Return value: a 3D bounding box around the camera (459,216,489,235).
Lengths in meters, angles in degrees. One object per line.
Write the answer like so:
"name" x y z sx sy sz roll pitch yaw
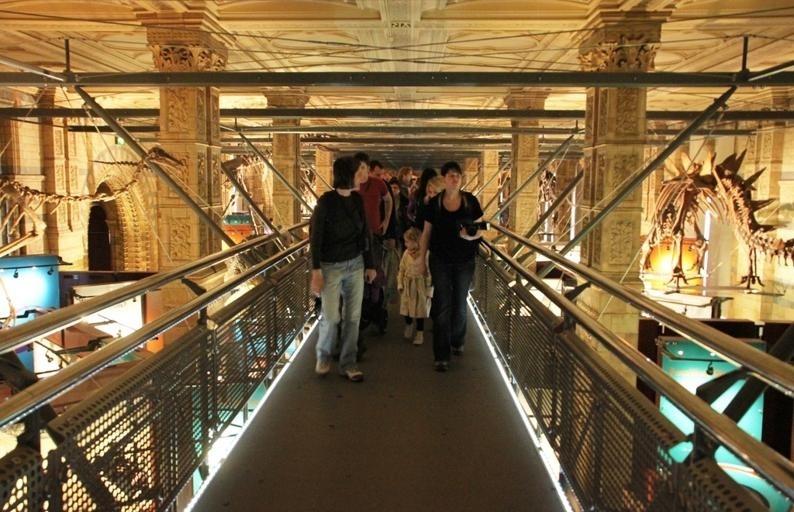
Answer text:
"camera" 0.764 -0.317 5.858 0.260 0.089 0.259 -1 13 -3
